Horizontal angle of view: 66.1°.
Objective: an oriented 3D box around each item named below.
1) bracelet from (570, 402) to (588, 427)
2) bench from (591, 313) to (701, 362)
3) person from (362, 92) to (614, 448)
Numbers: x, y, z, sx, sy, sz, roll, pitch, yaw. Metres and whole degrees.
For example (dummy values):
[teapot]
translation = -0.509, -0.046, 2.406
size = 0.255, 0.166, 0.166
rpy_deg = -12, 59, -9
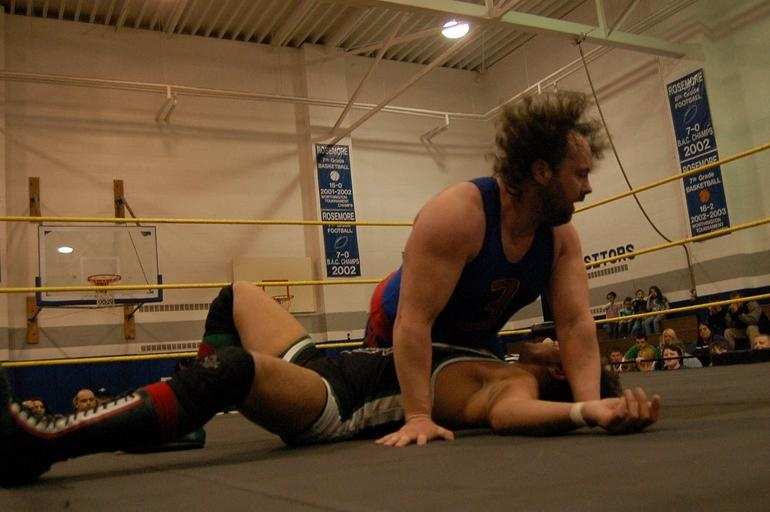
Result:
[bracelet]
translation = 0.542, 0.446, 1.660
size = 0.042, 0.056, 0.058
rpy_deg = -5, -15, 1
[bench]
translation = 3.485, 0.921, 7.429
size = 0.407, 0.534, 1.559
rpy_deg = 0, -9, 43
[person]
translation = 0.314, 0.123, 2.289
size = 0.797, 1.107, 1.276
rpy_deg = 11, -16, -36
